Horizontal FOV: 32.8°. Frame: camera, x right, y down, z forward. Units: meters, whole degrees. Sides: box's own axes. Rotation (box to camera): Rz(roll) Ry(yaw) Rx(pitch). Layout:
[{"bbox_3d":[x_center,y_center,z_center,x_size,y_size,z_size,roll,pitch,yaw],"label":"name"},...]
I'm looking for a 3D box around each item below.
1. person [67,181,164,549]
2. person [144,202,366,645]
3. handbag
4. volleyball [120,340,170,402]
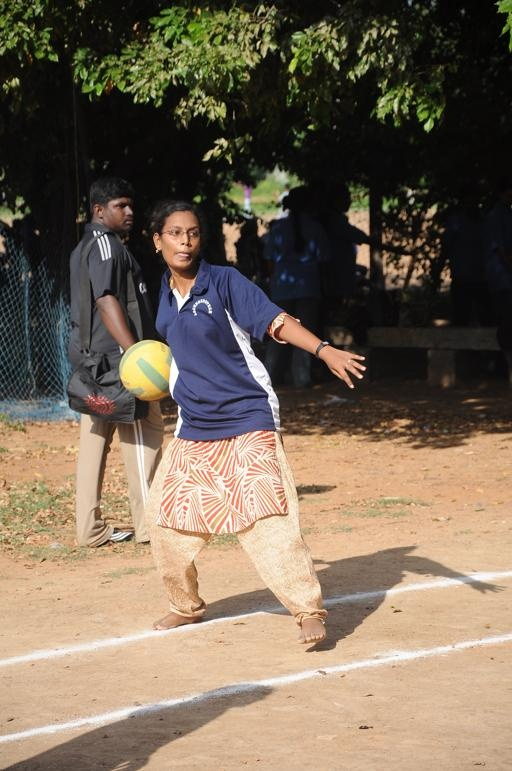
[{"bbox_3d":[-0.796,-0.124,5.416,0.805,2.195,0.770,-2,2,-18],"label":"person"},{"bbox_3d":[0.083,0.125,3.795,1.031,1.685,0.692,0,0,27],"label":"person"},{"bbox_3d":[-0.906,0.040,5.367,0.641,0.473,0.361,-1,5,2],"label":"handbag"},{"bbox_3d":[-0.535,-0.073,4.221,0.297,0.299,0.279,-4,10,-8],"label":"volleyball"}]
